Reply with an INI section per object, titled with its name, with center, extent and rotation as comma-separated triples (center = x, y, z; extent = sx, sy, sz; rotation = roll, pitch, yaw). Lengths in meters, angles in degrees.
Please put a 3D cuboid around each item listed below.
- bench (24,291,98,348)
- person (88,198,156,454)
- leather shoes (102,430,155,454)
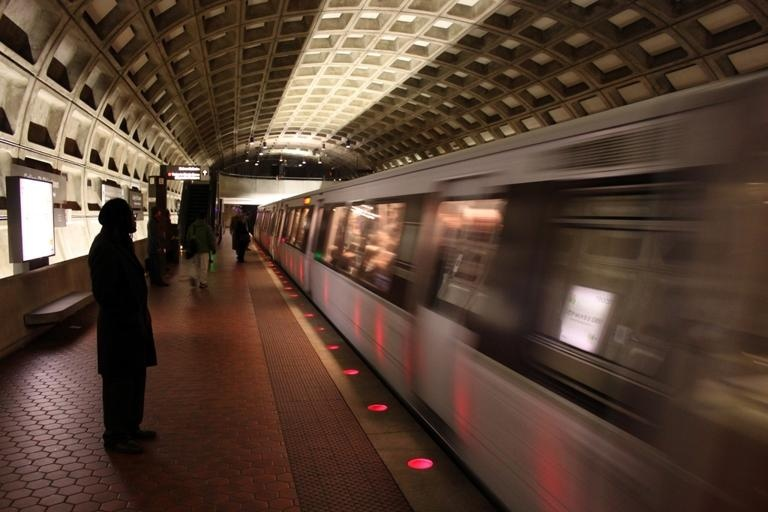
[bench]
center = -6.104, 1.152, 7.714
extent = 0.532, 0.556, 1.601
rotation = -3, 7, -21
[person]
center = -2.513, 0.672, 3.960
extent = 0.477, 2.438, 0.537
rotation = -6, 10, -39
[leather shoes]
center = -2.536, 1.822, 3.996
extent = 0.274, 0.073, 0.257
rotation = -1, 1, -2
